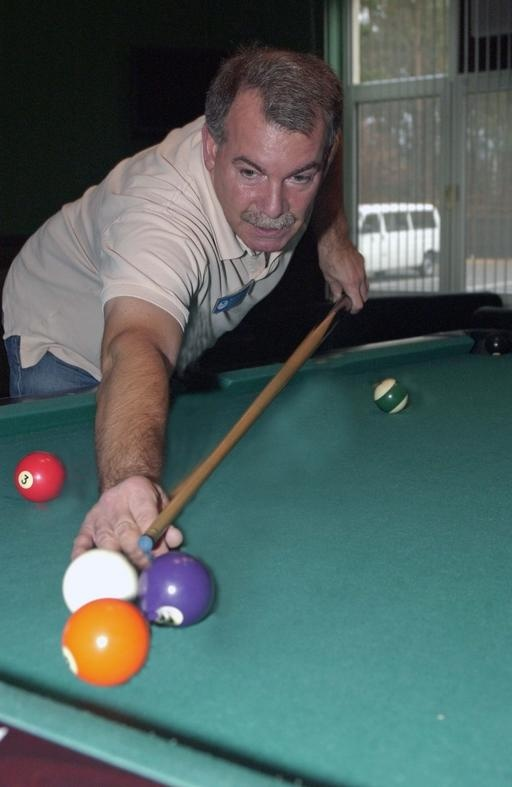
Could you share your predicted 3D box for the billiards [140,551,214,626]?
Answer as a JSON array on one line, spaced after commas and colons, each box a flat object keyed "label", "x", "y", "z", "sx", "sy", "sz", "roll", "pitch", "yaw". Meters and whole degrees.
[{"label": "billiards", "x": -0.102, "y": 0.224, "z": 0.815, "sx": 0.099, "sy": 0.070, "sz": 0.139, "roll": -2, "pitch": 15, "yaw": -16}]

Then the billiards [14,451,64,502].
[{"label": "billiards", "x": -0.427, "y": 0.167, "z": 1.267, "sx": 0.097, "sy": 0.055, "sz": 0.080, "roll": 18, "pitch": 23, "yaw": 41}]

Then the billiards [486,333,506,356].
[{"label": "billiards", "x": 0.989, "y": -0.198, "z": 2.627, "sx": 0.077, "sy": 0.091, "sz": 0.029, "roll": 18, "pitch": 2, "yaw": -18}]

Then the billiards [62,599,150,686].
[{"label": "billiards", "x": -0.158, "y": 0.266, "z": 0.690, "sx": 0.093, "sy": 0.064, "sz": 0.074, "roll": -3, "pitch": 10, "yaw": -18}]
